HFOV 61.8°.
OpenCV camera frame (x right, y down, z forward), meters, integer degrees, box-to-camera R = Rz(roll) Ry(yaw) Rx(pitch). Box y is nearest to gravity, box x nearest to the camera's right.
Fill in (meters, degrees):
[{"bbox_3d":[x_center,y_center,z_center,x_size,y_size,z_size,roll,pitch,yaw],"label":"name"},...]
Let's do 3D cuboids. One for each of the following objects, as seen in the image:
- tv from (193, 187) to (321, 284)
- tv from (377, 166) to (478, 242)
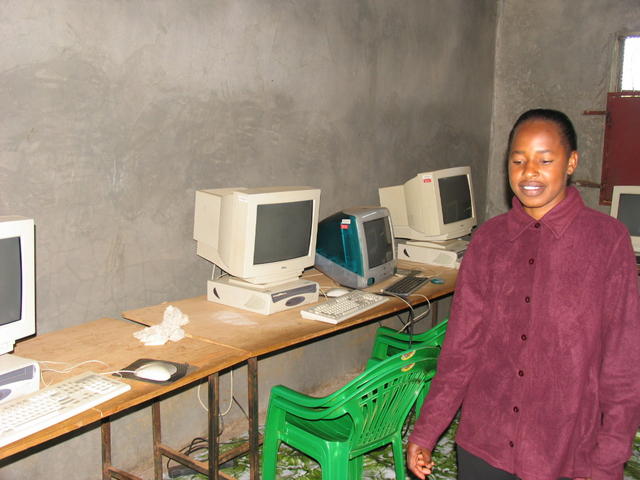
[{"bbox_3d":[-0.327,-0.071,2.936,0.571,0.486,0.573,15,19,35],"label":"tv"},{"bbox_3d":[0.778,-0.249,3.992,0.575,0.512,0.590,2,10,39],"label":"tv"}]
